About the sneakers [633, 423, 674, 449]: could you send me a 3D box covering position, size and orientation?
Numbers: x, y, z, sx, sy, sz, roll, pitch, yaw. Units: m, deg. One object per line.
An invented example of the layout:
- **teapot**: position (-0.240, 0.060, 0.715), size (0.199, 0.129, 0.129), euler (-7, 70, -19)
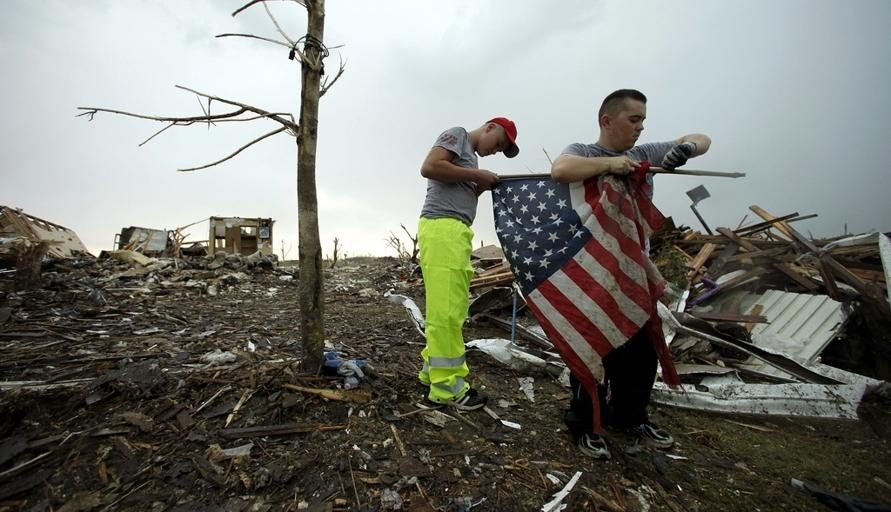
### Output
- **sneakers**: position (2.410, 2.083, 5.447), size (0.452, 0.187, 0.207), euler (7, 6, 36)

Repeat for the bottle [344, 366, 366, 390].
- **bottle**: position (-1.084, 1.467, 5.739), size (0.251, 0.249, 0.155), euler (-2, -2, -17)

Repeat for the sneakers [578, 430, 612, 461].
- **sneakers**: position (1.666, 2.126, 5.244), size (0.205, 0.162, 0.381), euler (5, -13, -24)
